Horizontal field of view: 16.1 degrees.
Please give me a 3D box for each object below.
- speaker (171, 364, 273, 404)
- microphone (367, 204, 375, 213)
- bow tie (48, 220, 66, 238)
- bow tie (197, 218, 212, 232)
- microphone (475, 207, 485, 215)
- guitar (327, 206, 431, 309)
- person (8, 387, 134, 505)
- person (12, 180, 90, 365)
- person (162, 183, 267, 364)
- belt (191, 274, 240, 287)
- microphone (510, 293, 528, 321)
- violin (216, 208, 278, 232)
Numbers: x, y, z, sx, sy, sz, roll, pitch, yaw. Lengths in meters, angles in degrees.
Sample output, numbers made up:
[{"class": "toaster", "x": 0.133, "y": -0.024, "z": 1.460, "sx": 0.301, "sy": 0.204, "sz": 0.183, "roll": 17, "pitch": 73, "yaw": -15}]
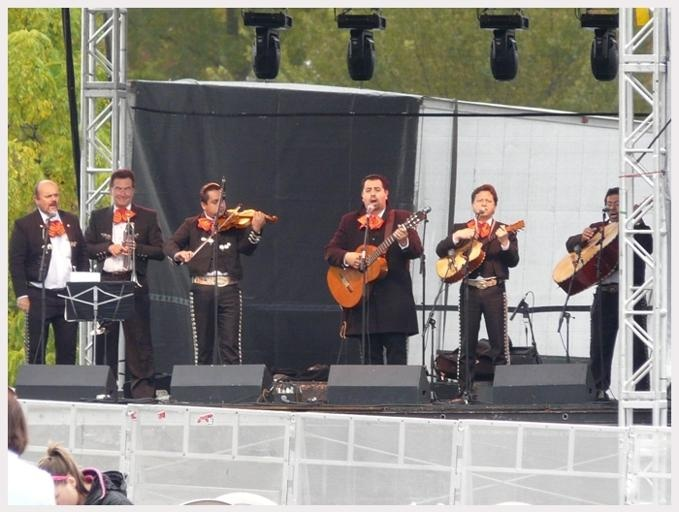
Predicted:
[{"class": "speaker", "x": -1.351, "y": 1.370, "z": 25.249, "sx": 0.985, "sy": 0.394, "sz": 0.222, "roll": 0, "pitch": -2, "yaw": -7}, {"class": "microphone", "x": 0.304, "y": -0.469, "z": 25.780, "sx": 0.072, "sy": 0.051, "sz": 0.106, "roll": -3, "pitch": 6, "yaw": -7}, {"class": "bow tie", "x": -3.210, "y": -0.265, "z": 26.270, "sx": 0.177, "sy": 0.166, "sz": 0.040, "roll": 1, "pitch": -10, "yaw": -20}, {"class": "bow tie", "x": -1.558, "y": -0.306, "z": 26.438, "sx": 0.157, "sy": 0.148, "sz": 0.052, "roll": -6, "pitch": 0, "yaw": 27}, {"class": "microphone", "x": 1.502, "y": -0.444, "z": 25.877, "sx": 0.080, "sy": 0.087, "sz": 0.082, "roll": 38, "pitch": -10, "yaw": -19}, {"class": "guitar", "x": 0.354, "y": 0.070, "z": 25.893, "sx": 0.225, "sy": 0.654, "sz": 1.462, "roll": -8, "pitch": -34, "yaw": -54}, {"class": "person", "x": -2.678, "y": 1.807, "z": 22.419, "sx": 0.423, "sy": 1.065, "sz": 1.299, "roll": -2, "pitch": -3, "yaw": 43}, {"class": "person", "x": -3.296, "y": 0.209, "z": 26.271, "sx": 0.857, "sy": 1.964, "sz": 0.384, "roll": 1, "pitch": -2, "yaw": -8}, {"class": "person", "x": -1.406, "y": 0.227, "z": 26.348, "sx": 0.904, "sy": 1.951, "sz": 0.956, "roll": 2, "pitch": -3, "yaw": -44}, {"class": "belt", "x": -1.444, "y": 0.298, "z": 26.359, "sx": 0.492, "sy": 0.124, "sz": 0.313, "roll": 0, "pitch": -2, "yaw": -4}, {"class": "microphone", "x": 2.021, "y": 0.616, "z": 27.397, "sx": 0.307, "sy": 0.293, "sz": 0.234, "roll": -7, "pitch": -6, "yaw": 30}, {"class": "violin", "x": -1.075, "y": -0.376, "z": 26.346, "sx": 0.660, "sy": 0.095, "sz": 0.268, "roll": -7, "pitch": 33, "yaw": 35}]
